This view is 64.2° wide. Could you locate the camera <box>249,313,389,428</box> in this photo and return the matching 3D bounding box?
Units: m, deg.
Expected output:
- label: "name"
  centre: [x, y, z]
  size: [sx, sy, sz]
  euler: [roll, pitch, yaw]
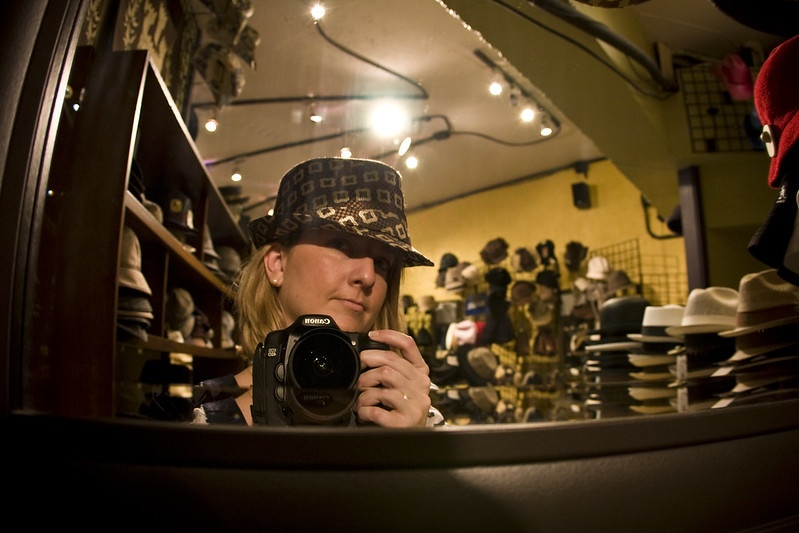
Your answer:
- label: "camera"
  centre: [-0.117, 0.162, 0.931]
  size: [0.175, 0.165, 0.159]
  euler: [3, -22, -6]
